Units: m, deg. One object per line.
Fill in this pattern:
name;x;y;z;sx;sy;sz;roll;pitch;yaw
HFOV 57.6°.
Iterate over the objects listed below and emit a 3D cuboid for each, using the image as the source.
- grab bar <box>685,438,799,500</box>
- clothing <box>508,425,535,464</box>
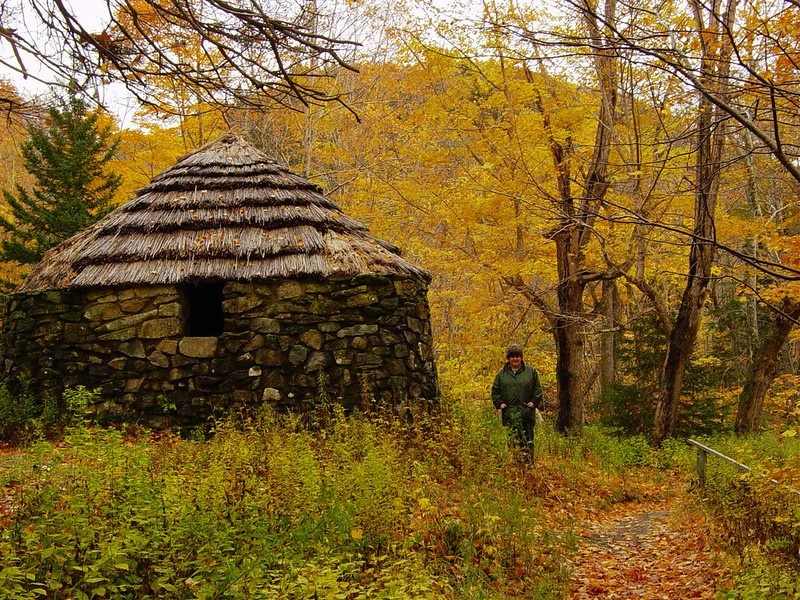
grab bar;4.233;2.116;8.958;0.089;0.273;1.203;-26;18;-14
clothing;1.707;2.097;10.314;0.382;0.569;0.559;0;0;9
